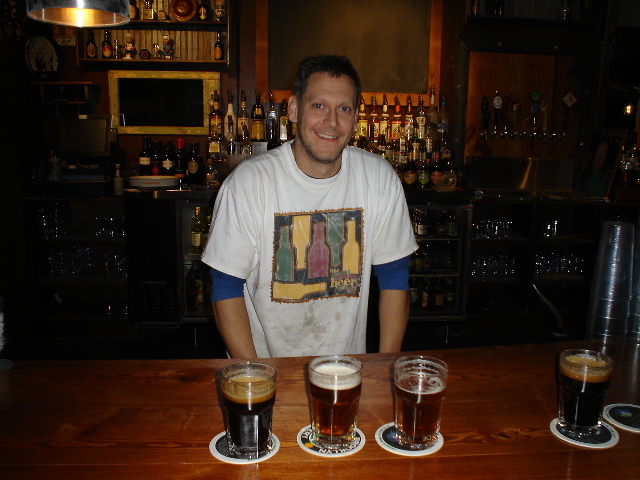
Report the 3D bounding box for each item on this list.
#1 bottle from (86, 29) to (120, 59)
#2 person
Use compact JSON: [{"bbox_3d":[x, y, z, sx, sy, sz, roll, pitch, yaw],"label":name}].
[{"bbox_3d":[-1.813,-1.626,4.795,0.351,0.253,0.253,0,15,1],"label":"bottle"},{"bbox_3d":[-0.015,-0.108,2.258,0.869,1.184,0.431,-5,15,-17],"label":"person"}]
